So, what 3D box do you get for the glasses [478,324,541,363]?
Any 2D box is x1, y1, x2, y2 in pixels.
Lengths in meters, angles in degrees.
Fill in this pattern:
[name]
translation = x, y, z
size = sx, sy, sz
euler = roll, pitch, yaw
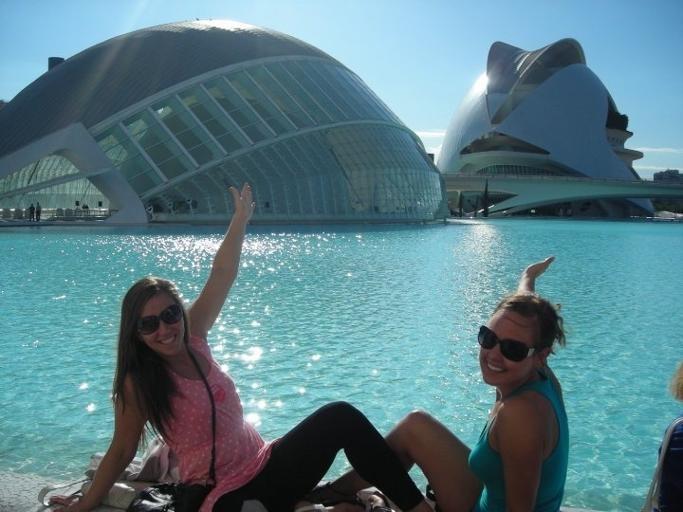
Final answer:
[glasses]
translation = 0.743, 0.368, 2.135
size = 0.264, 0.073, 0.232
euler = 1, 18, -46
